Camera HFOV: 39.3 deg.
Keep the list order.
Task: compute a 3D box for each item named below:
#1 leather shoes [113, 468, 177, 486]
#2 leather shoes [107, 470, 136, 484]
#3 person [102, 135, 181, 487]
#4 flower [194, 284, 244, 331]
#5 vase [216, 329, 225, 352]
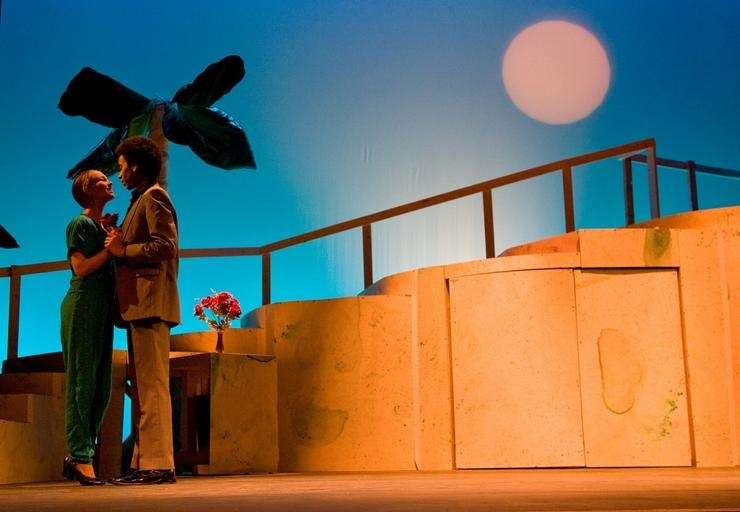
[{"bbox_3d":[-1.754,1.731,8.143,0.473,0.206,0.163,6,-18,-11],"label":"leather shoes"},{"bbox_3d":[-1.952,1.728,8.156,0.231,0.110,0.134,-11,-14,35],"label":"leather shoes"},{"bbox_3d":[-1.824,0.417,8.396,0.582,2.776,0.541,0,-11,-14],"label":"person"},{"bbox_3d":[-1.521,0.531,10.399,0.467,0.443,0.468,-1,-11,-9],"label":"flower"},{"bbox_3d":[-1.473,0.822,10.205,0.075,0.227,0.332,-1,-11,-9],"label":"vase"}]
